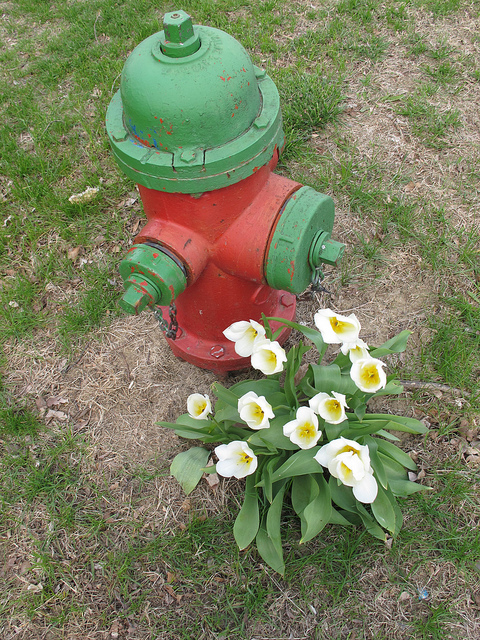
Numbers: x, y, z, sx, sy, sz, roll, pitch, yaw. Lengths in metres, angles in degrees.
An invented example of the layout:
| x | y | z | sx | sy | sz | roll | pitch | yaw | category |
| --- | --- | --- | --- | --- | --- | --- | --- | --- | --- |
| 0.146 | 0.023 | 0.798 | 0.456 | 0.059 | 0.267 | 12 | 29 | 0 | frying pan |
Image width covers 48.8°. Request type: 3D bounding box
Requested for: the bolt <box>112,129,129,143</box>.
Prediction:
| x | y | z | sx | sy | sz | roll | pitch | yaw | category |
| --- | --- | --- | --- | --- | --- | --- | --- | --- | --- |
| -0.415 | -0.638 | 1.829 | 0.053 | 0.019 | 0.066 | -9 | 48 | -10 | bolt |

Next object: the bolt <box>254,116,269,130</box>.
| x | y | z | sx | sy | sz | roll | pitch | yaw | category |
| --- | --- | --- | --- | --- | --- | --- | --- | --- | --- |
| 0.072 | -0.667 | 1.782 | 0.049 | 0.011 | 0.045 | 31 | 75 | 18 | bolt |

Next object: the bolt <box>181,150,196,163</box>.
| x | y | z | sx | sy | sz | roll | pitch | yaw | category |
| --- | --- | --- | --- | --- | --- | --- | --- | --- | --- |
| -0.166 | -0.526 | 1.697 | 0.048 | 0.018 | 0.048 | -31 | 55 | -27 | bolt |

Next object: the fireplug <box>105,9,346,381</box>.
| x | y | z | sx | sy | sz | roll | pitch | yaw | category |
| --- | --- | --- | --- | --- | --- | --- | --- | --- | --- |
| -0.095 | -0.350 | 2.109 | 0.835 | 1.490 | 0.686 | -10 | 49 | -10 | fireplug |

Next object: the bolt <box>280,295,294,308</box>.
| x | y | z | sx | sy | sz | roll | pitch | yaw | category |
| --- | --- | --- | --- | --- | --- | --- | --- | --- | --- |
| 0.221 | -0.092 | 2.495 | 0.050 | 0.013 | 0.053 | -1 | 67 | 5 | bolt |

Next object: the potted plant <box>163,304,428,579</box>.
| x | y | z | sx | sy | sz | roll | pitch | yaw | category |
| --- | --- | --- | --- | --- | --- | --- | --- | --- | --- |
| 0.212 | 0.323 | 1.964 | 1.030 | 0.437 | 1.036 | -4 | 57 | 1 | potted plant |

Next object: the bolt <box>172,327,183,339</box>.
| x | y | z | sx | sy | sz | roll | pitch | yaw | category |
| --- | --- | --- | --- | --- | --- | --- | --- | --- | --- |
| -0.290 | 0.065 | 2.412 | 0.054 | 0.082 | 0.031 | -5 | 63 | -6 | bolt |
